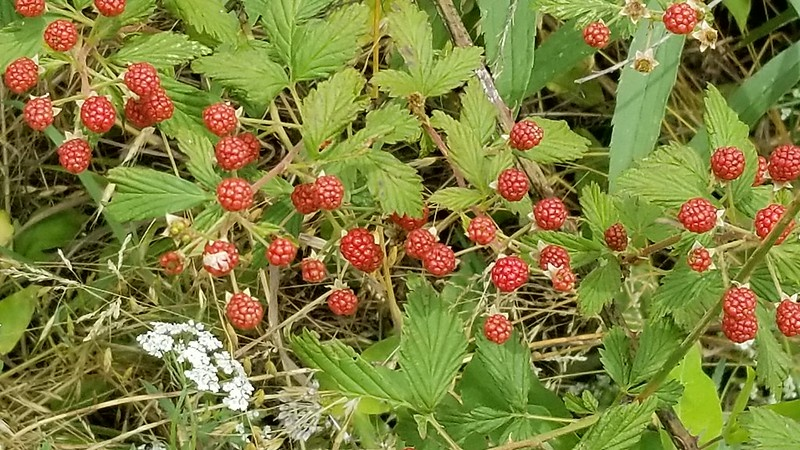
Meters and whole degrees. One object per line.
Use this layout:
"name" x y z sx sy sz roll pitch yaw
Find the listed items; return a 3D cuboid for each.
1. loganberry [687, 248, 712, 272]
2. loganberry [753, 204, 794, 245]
"loganberry" 1.037 0.119 2.328 0.060 0.082 0.073 -10 27 25
"loganberry" 1.257 0.004 2.260 0.072 0.081 0.088 23 59 21
